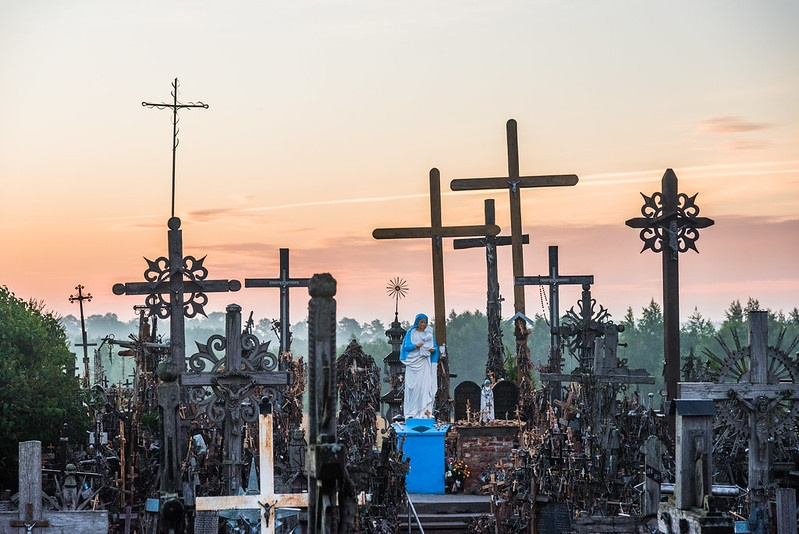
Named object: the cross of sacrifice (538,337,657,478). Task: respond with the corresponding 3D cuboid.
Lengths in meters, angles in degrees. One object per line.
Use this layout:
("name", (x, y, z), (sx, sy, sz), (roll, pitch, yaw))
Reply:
("cross of sacrifice", (5.513, 4.011, 60.755), (3.969, 4.292, 0.665), (1, -18, -4))

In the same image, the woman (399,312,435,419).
("woman", (0.603, 2.992, 63.735), (1.075, 2.887, 0.898), (-3, -9, -1))

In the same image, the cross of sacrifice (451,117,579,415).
("cross of sacrifice", (3.996, -0.418, 71.239), (4.438, 8.839, 0.557), (-4, 29, -1))

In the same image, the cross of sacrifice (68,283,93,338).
("cross of sacrifice", (-11.734, 2.031, 80.376), (0.923, 2.881, 0.062), (-6, -14, -6))

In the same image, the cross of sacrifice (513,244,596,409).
("cross of sacrifice", (4.867, 1.250, 67.876), (2.455, 0.399, 4.507), (-1, -45, 6))
